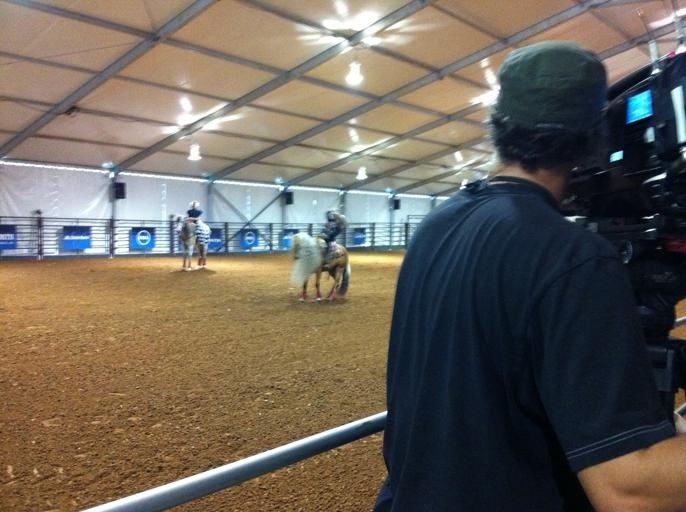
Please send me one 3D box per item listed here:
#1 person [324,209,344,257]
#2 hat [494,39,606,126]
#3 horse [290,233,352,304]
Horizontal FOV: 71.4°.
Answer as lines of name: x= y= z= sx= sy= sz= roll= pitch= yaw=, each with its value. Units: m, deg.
person: x=-0.133 y=-0.359 z=7.073 sx=0.324 sy=0.655 sz=0.485 roll=2 pitch=7 yaw=0
hat: x=0.509 y=-0.419 z=1.231 sx=0.303 sy=0.157 sz=0.293 roll=15 pitch=25 yaw=35
horse: x=-0.287 y=0.201 z=7.075 sx=0.527 sy=1.055 sz=1.021 roll=5 pitch=8 yaw=24
